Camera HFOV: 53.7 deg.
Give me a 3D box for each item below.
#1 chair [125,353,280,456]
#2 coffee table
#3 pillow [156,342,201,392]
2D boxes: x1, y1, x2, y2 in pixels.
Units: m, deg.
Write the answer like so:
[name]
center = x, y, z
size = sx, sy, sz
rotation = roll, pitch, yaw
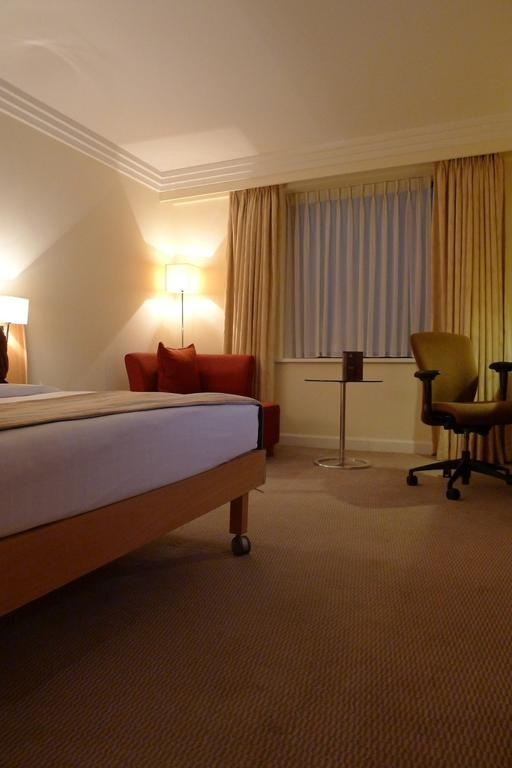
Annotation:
[chair]
center = -0.480, 0.231, 4.189
size = 0.982, 1.038, 1.092
rotation = -7, -3, 36
[coffee table]
center = 0.673, 0.285, 3.856
size = 0.518, 0.672, 0.520
rotation = -2, 4, -30
[pillow]
center = -0.612, -0.101, 4.230
size = 0.157, 0.440, 0.432
rotation = 5, 8, 32
